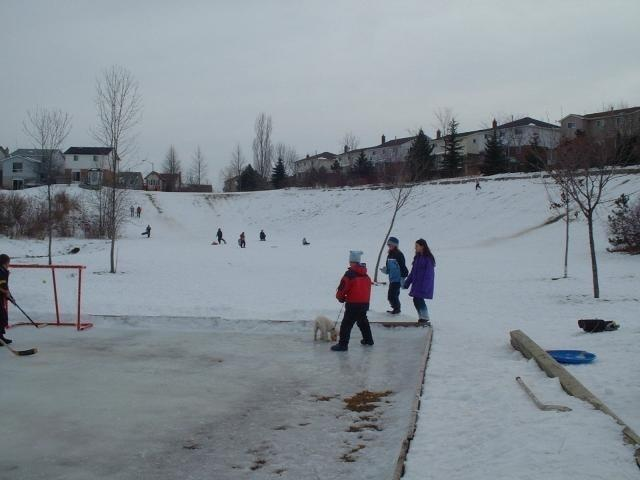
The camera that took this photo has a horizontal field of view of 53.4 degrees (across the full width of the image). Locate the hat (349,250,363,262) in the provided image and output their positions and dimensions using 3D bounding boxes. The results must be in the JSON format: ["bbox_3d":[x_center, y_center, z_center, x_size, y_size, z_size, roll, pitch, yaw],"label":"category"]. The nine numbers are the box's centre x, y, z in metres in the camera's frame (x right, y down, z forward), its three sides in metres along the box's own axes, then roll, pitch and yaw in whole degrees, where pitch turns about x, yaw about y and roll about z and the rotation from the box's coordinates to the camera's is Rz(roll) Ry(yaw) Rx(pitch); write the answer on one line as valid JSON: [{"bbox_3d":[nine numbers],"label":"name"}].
[{"bbox_3d":[0.663,0.292,11.450,0.174,0.205,0.241,1,5,14],"label":"hat"}]

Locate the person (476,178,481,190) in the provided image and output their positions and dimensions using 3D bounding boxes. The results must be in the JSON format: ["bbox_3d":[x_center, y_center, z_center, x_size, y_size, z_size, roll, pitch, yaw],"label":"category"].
[{"bbox_3d":[11.034,-3.880,44.146,0.385,0.760,1.214,1,9,13],"label":"person"}]

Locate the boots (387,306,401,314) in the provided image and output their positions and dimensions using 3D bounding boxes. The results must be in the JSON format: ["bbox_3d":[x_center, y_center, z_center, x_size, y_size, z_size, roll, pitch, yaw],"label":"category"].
[{"bbox_3d":[1.660,1.589,14.390,0.324,0.229,0.134,3,1,32],"label":"boots"}]

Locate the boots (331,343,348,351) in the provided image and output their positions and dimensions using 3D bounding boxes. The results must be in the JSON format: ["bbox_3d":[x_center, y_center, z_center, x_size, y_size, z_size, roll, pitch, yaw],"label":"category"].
[{"bbox_3d":[0.355,1.931,11.357,0.234,0.104,0.125,5,0,3],"label":"boots"}]

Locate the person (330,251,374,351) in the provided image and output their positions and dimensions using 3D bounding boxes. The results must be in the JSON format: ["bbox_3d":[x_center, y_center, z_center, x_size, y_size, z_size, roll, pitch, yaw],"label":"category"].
[{"bbox_3d":[0.606,1.089,11.521,0.720,1.782,0.828,0,9,7],"label":"person"}]

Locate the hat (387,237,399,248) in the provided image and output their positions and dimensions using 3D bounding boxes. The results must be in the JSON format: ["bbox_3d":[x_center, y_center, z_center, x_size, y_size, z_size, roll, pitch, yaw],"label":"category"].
[{"bbox_3d":[1.634,0.054,14.099,0.315,0.248,0.229,13,-11,-40],"label":"hat"}]

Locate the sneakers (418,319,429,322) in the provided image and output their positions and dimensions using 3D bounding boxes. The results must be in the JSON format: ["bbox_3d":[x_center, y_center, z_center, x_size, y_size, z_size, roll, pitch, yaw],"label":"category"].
[{"bbox_3d":[2.146,1.684,13.113,0.188,0.071,0.082,6,23,25],"label":"sneakers"}]
